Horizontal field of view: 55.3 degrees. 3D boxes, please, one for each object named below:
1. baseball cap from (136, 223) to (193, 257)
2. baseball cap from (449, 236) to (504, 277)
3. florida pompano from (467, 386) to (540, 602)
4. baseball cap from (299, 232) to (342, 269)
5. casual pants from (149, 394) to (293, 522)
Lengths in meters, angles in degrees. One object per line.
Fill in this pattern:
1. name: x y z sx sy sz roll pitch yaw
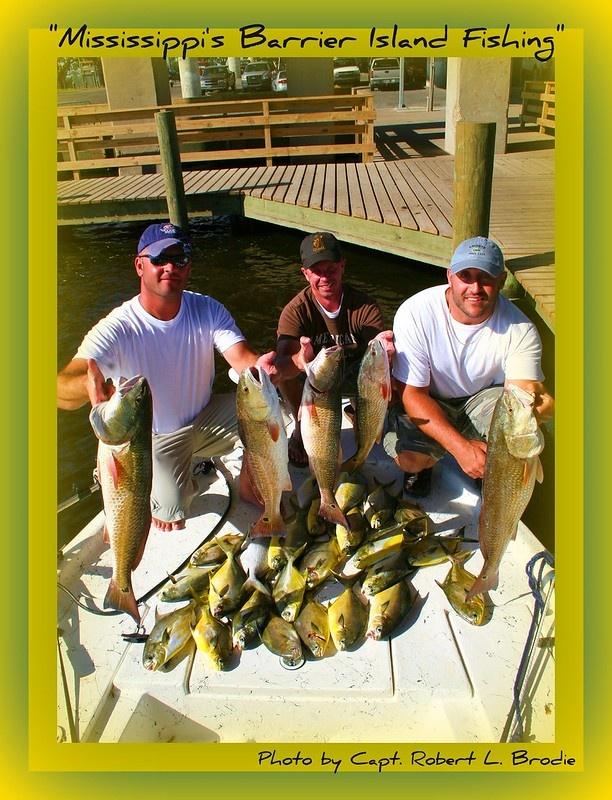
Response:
1. baseball cap: -0.749 -0.843 3.031 0.267 0.144 0.332 -19 35 -26
2. baseball cap: 0.872 -0.730 2.968 0.188 0.137 0.272 10 9 20
3. florida pompano: 0.812 0.396 2.354 0.220 0.836 0.431 8 33 17
4. baseball cap: 0.088 -0.905 3.511 0.242 0.198 0.323 -1 31 2
5. casual pants: -0.488 0.329 3.208 0.257 0.715 0.553 17 9 23
